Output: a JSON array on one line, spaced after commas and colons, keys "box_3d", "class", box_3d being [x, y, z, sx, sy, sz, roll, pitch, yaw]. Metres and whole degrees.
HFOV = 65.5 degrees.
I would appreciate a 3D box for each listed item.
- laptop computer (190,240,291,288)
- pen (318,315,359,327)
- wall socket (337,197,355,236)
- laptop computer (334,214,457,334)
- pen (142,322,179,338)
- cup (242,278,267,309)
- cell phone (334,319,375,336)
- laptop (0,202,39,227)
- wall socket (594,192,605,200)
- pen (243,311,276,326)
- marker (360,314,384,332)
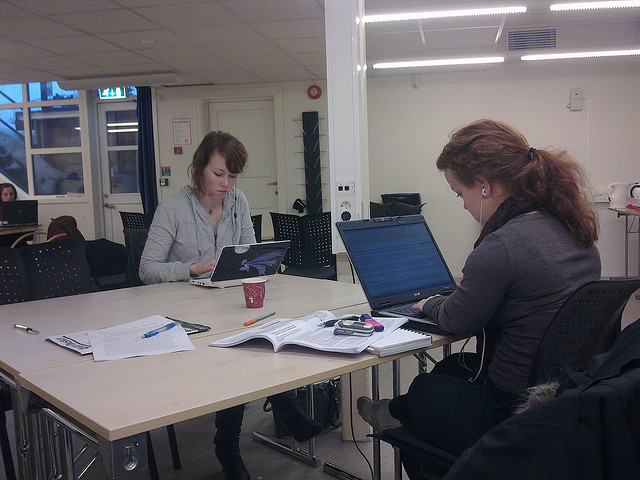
[{"box_3d": [-0.383, 0.106, 2.413, 0.363, 0.199, 0.387, 6, 9, 44], "class": "laptop computer"}, {"box_3d": [0.064, 0.275, 1.693, 0.115, 0.026, 0.030, -2, 39, 25], "class": "pen"}, {"box_3d": [0.168, -0.172, 3.173, 0.128, 0.235, 0.023, -2, 31, -1], "class": "wall socket"}, {"box_3d": [0.280, 0.081, 1.992, 0.465, 0.281, 0.423, -9, 13, -36], "class": "laptop computer"}, {"box_3d": [-0.558, 0.304, 1.738, 0.023, 0.017, 0.141, 34, 19, 15], "class": "pen"}, {"box_3d": [-0.270, 0.213, 2.103, 0.119, 0.120, 0.123, 3, 10, -1], "class": "cup"}, {"box_3d": [0.107, 0.284, 1.608, 0.083, 0.027, 0.056, 3, 6, 21], "class": "cell phone"}, {"box_3d": [-3.726, -0.318, 6.200, 0.421, 0.294, 0.288, 2, 6, -33], "class": "laptop"}, {"box_3d": [3.705, -0.584, 6.609, 0.120, 0.092, 0.066, 0, 9, 11], "class": "wall socket"}, {"box_3d": [-0.229, 0.296, 1.926, 0.028, 0.022, 0.263, 22, 13, 19], "class": "pen"}, {"box_3d": [0.177, 0.269, 1.664, 0.031, 0.021, 0.102, -4, 14, -19], "class": "marker"}]
